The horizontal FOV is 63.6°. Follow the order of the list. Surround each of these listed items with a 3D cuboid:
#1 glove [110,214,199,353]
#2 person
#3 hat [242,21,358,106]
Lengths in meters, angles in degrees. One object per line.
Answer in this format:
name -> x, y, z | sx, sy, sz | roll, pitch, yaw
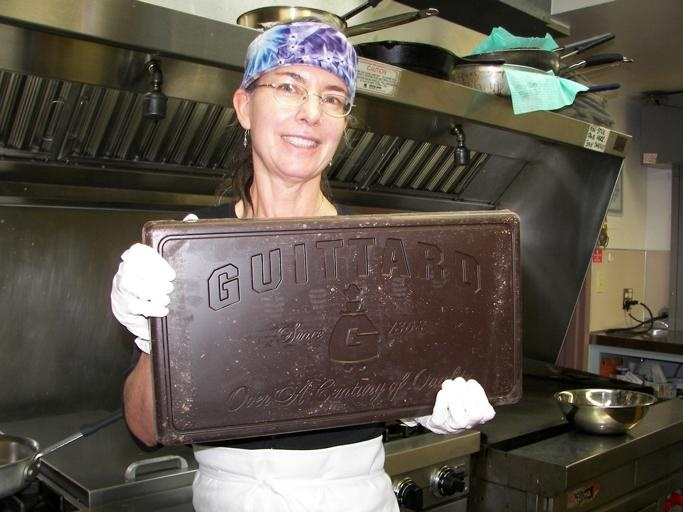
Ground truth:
glove -> -0.365, 0.027, 1.081 | 0.194, 0.266, 0.082 | -1, 9, -34
person -> -0.123, 0.026, 1.272 | 0.752, 1.126, 0.634 | 0, 11, -16
hat -> -0.090, -0.510, 1.397 | 0.279, 0.162, 0.266 | 3, 8, 27
